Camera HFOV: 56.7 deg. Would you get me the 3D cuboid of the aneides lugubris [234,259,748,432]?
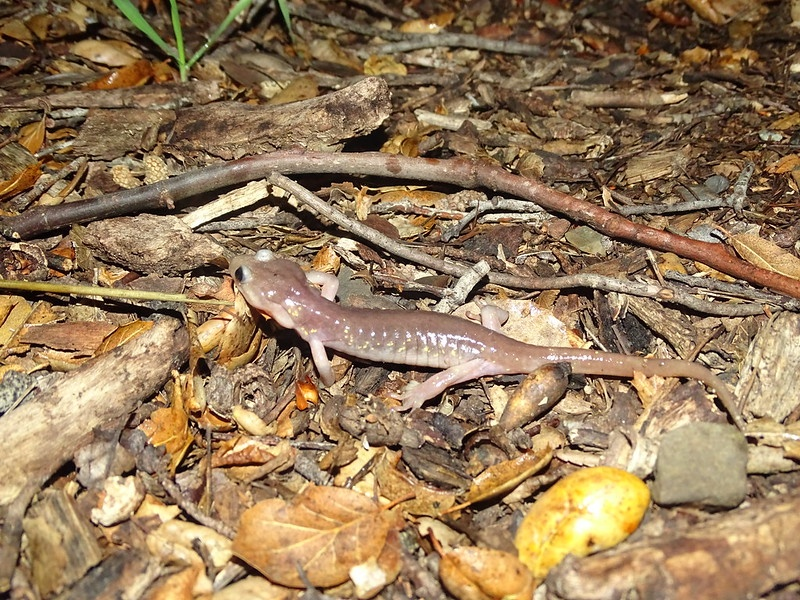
[{"bbox_3d":[0.567,0.345,5.546,3.924,0.547,1.002,9,36,5],"label":"aneides lugubris"}]
